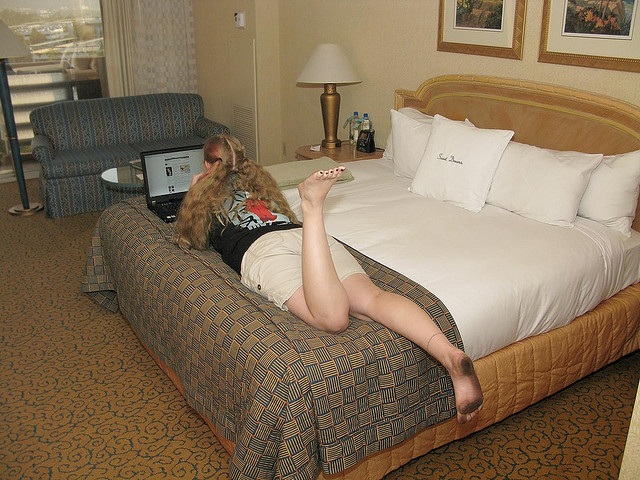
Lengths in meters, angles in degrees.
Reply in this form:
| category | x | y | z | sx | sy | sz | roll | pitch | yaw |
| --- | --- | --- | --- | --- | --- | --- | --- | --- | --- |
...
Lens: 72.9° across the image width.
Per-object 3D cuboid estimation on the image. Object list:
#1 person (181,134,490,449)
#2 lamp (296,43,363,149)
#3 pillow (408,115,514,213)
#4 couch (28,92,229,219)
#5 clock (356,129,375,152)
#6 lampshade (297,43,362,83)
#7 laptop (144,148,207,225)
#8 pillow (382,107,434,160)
| category | x | y | z | sx | sy | sz | roll | pitch | yaw |
| --- | --- | --- | --- | --- | --- | --- | --- | --- | --- |
| person | -0.079 | 0.027 | 2.428 | 1.098 | 0.844 | 2.249 | -7 | 21 | -31 |
| lamp | 0.318 | -1.748 | 5.111 | 0.944 | 1.376 | 1.000 | 3 | 26 | 7 |
| pillow | 1.020 | -0.572 | 3.212 | 0.196 | 0.686 | 0.716 | 17 | 15 | -38 |
| couch | -2.456 | -1.295 | 6.049 | 2.534 | 1.299 | 1.126 | -14 | 27 | -28 |
| clock | 0.474 | -1.058 | 4.594 | 0.122 | 0.209 | 0.208 | -10 | 19 | -44 |
| lampshade | 0.085 | -1.818 | 4.534 | 0.487 | 0.271 | 0.505 | 5 | 18 | 15 |
| laptop | -1.097 | -0.399 | 3.239 | 0.486 | 0.332 | 0.369 | -19 | 49 | -41 |
| pillow | 0.829 | -0.995 | 4.142 | 0.185 | 0.483 | 0.461 | -7 | 14 | -43 |
